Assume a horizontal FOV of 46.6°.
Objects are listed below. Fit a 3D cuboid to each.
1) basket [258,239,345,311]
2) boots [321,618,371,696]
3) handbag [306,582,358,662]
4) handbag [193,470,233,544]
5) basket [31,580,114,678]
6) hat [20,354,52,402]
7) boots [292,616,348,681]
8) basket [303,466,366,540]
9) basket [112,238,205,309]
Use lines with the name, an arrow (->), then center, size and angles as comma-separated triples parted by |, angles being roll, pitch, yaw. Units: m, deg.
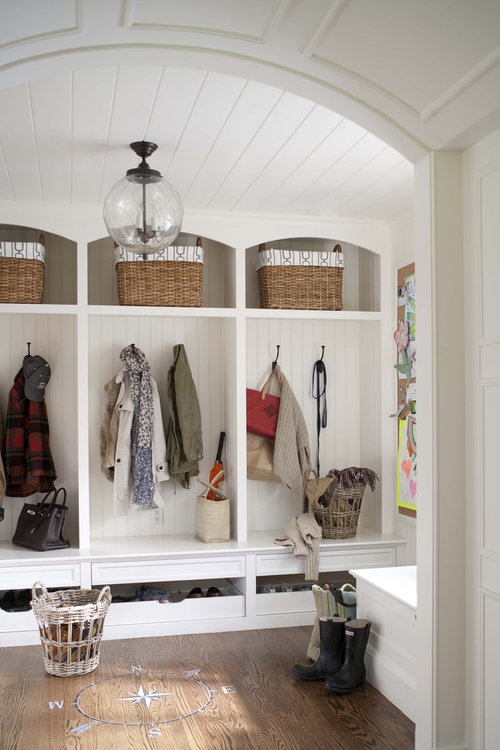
basket -> 0.348, -0.613, 4.042 | 0.635, 0.558, 0.406 | 1, 3, -6
boots -> 0.466, 1.293, 2.674 | 0.144, 0.316, 0.304 | -6, -9, 44
handbag -> 0.416, 1.325, 3.070 | 0.261, 0.374, 0.262 | 17, -21, -7
handbag -> -0.242, 0.887, 4.095 | 0.308, 0.683, 0.465 | 1, -8, -6
basket -> -0.903, 1.266, 2.970 | 0.376, 0.448, 0.367 | 9, -12, -33
hat -> -1.453, 0.007, 3.879 | 0.238, 0.339, 0.148 | -6, -9, 44
boots -> 0.345, 1.297, 2.785 | 0.263, 0.285, 0.140 | 6, -1, -16
basket -> 0.575, 0.853, 3.875 | 0.376, 0.477, 0.296 | 1, -6, -4
basket -> -0.596, -0.639, 3.842 | 0.579, 0.467, 0.338 | 0, -7, -6
